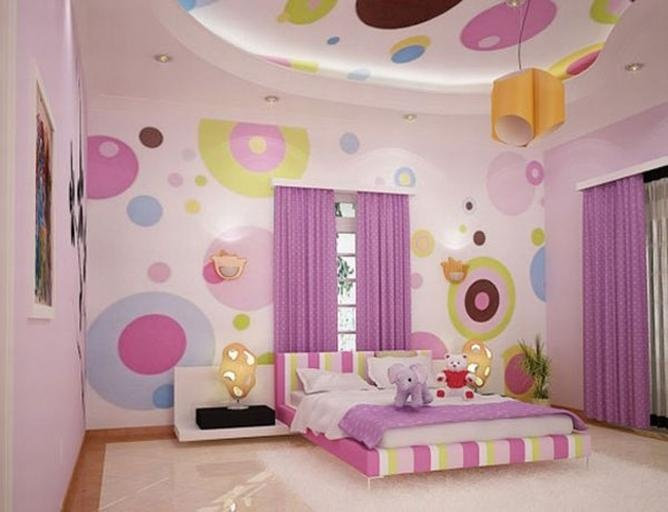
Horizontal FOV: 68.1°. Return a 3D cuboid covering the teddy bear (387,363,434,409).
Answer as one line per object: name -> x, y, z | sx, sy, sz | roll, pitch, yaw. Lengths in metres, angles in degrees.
teddy bear -> 0.701, 1.240, 4.783 | 0.324, 0.395, 0.436 | -6, 2, 14

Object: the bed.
bed -> 0.576, 1.660, 4.897 | 1.624, 0.694, 1.791 | 2, -5, -25

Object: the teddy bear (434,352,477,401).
teddy bear -> 1.342, 1.361, 5.533 | 0.443, 0.504, 0.383 | -1, -6, 13

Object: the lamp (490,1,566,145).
lamp -> 1.377, -1.078, 3.577 | 0.496, 0.521, 0.389 | -2, -5, 25
